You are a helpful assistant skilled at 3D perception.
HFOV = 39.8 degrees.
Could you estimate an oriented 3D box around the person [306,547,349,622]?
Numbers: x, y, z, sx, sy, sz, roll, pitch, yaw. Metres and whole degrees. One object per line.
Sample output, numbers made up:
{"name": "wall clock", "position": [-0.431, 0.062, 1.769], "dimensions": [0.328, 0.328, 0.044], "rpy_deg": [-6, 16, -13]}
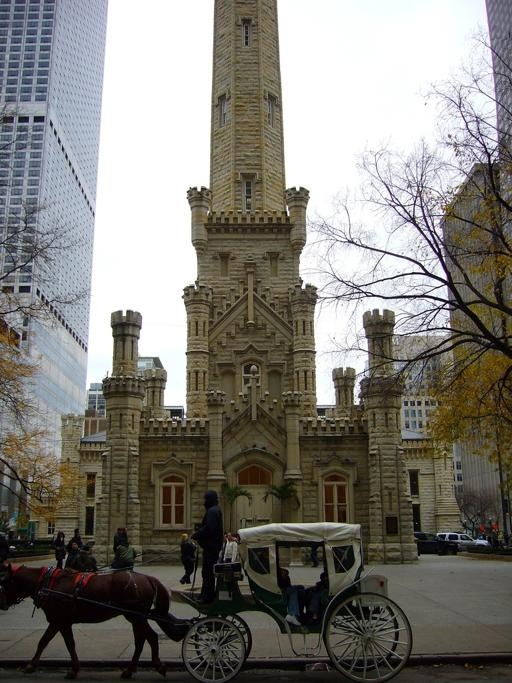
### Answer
{"name": "person", "position": [0.893, 3.053, 8.906], "dimensions": [0.632, 0.824, 0.327], "rpy_deg": [-11, -23, 44]}

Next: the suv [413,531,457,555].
{"name": "suv", "position": [10.492, 11.934, 41.718], "dimensions": [2.417, 1.279, 1.295], "rpy_deg": [-9, -16, 24]}

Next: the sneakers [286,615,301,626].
{"name": "sneakers", "position": [0.442, 3.422, 8.680], "dimensions": [0.220, 0.097, 0.073], "rpy_deg": [11, -13, -13]}
